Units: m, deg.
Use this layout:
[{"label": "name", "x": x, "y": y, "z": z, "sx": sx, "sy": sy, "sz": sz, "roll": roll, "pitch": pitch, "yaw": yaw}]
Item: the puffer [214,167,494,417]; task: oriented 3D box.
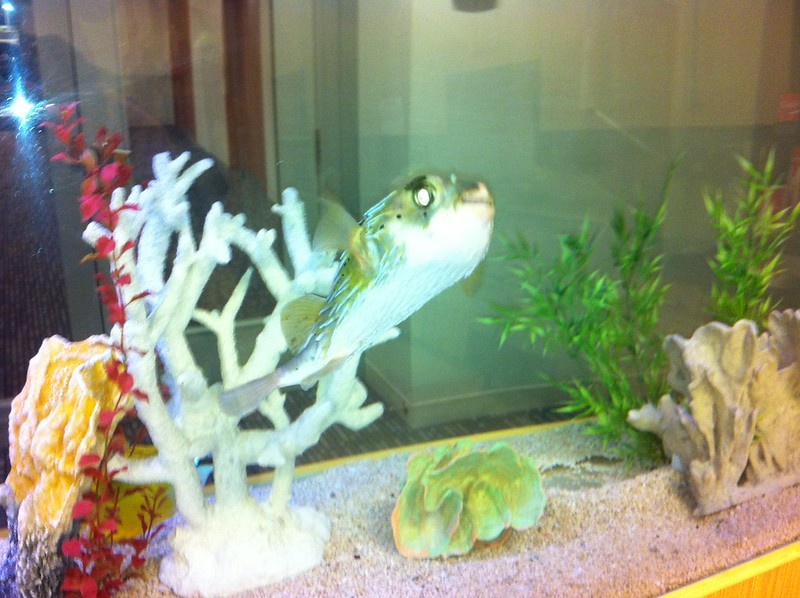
[{"label": "puffer", "x": -0.042, "y": -0.067, "z": 1.538, "sx": 0.674, "sy": 0.303, "sz": 0.275, "roll": -43, "pitch": 48, "yaw": -1}]

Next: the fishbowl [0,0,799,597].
[{"label": "fishbowl", "x": -0.088, "y": 0.084, "z": 1.475, "sx": 1.325, "sy": 1.313, "sz": 0.488, "roll": -12, "pitch": 24, "yaw": -18}]
